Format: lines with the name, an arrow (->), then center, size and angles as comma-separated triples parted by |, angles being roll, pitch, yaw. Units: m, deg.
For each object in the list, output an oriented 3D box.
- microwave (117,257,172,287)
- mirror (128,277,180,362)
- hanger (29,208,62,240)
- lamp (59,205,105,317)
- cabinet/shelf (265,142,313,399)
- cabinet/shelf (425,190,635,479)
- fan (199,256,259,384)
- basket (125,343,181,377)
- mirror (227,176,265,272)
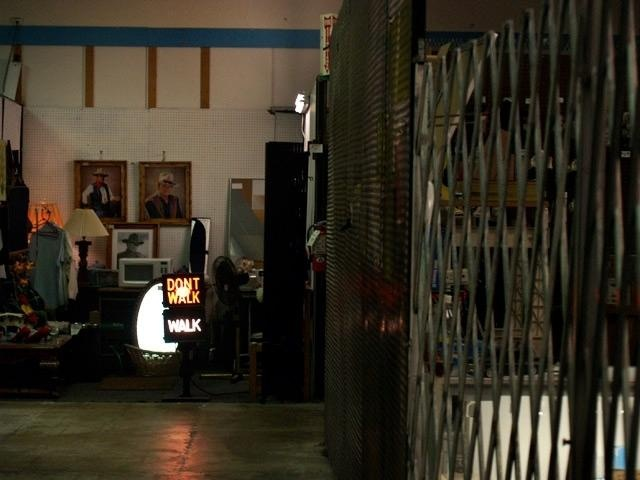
microwave -> -1.974, 0.339, 9.756 | 0.575, 0.426, 0.339 | 1, -9, -13
mirror -> -1.684, 0.800, 9.095 | 0.570, 0.771, 0.167 | -4, 6, -29
hanger -> -3.149, -0.194, 10.057 | 0.347, 0.377, 0.102 | 0, -1, 10
lamp -> -2.610, 0.238, 9.944 | 0.444, 1.197, 0.802 | -1, 4, -14
cabinet/shelf -> -0.331, 0.277, 7.782 | 0.383, 2.277, 0.150 | 0, 4, -3
cabinet/shelf -> 1.257, 0.686, 5.422 | 1.605, 1.311, 0.948 | 1, -8, -4
fan -> -1.046, 0.782, 9.580 | 0.487, 1.405, 2.013 | 0, 4, -7
basket -> -1.671, 1.217, 8.961 | 0.375, 0.210, 0.307 | 0, -4, -5
mirror -> -0.841, -0.105, 10.773 | 0.498, 1.047, 0.558 | 3, -16, 4
